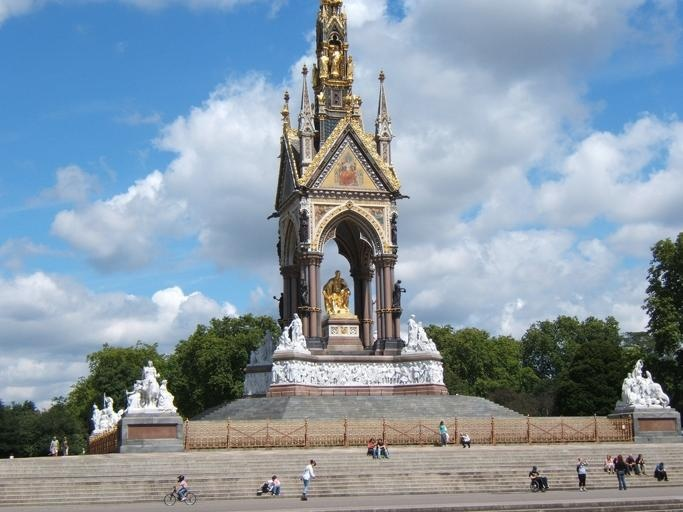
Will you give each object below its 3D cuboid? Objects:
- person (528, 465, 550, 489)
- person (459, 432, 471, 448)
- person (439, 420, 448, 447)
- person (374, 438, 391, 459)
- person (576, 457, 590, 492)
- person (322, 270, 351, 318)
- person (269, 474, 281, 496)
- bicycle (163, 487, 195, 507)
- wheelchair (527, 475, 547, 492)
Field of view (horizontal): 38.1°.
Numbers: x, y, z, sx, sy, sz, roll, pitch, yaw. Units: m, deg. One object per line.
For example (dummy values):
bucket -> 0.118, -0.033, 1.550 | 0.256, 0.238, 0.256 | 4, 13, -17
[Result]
person -> 8.495, 9.782, 43.598 | 0.736, 0.823, 1.216 | 5, -4, -19
person -> 6.038, 9.114, 48.943 | 0.566, 0.754, 0.547 | 2, -8, 4
person -> 5.091, 8.897, 49.879 | 0.479, 1.366, 1.186 | -5, -16, 5
person -> 1.846, 9.082, 46.589 | 0.670, 0.345, 0.948 | -10, 25, 1
person -> 10.750, 9.865, 44.648 | 0.441, 1.390, 1.899 | -7, -16, 12
person -> -0.403, 2.468, 64.493 | 1.585, 3.293, 1.016 | -3, -16, -4
person -> -2.868, 9.745, 42.047 | 0.463, 0.853, 0.610 | -3, -16, -2
bicycle -> -6.614, 9.878, 40.360 | 1.307, 0.813, 0.649 | 5, -29, -1
wheelchair -> 8.536, 9.957, 43.269 | 0.703, 0.672, 0.472 | -4, -16, 0
